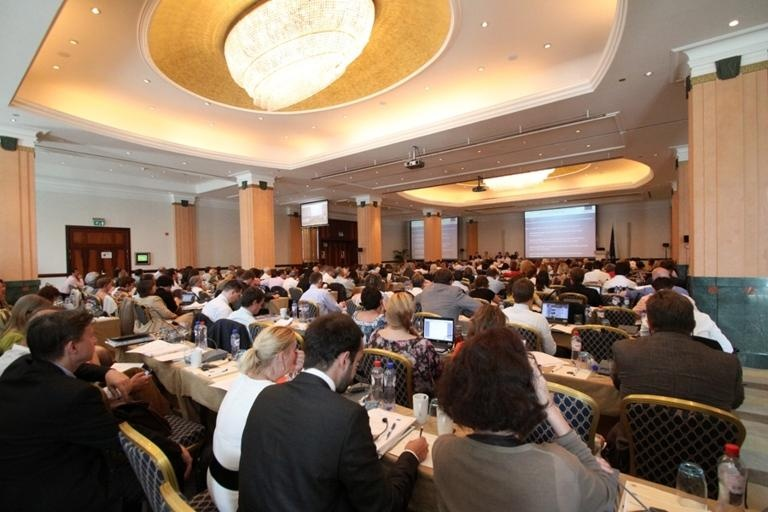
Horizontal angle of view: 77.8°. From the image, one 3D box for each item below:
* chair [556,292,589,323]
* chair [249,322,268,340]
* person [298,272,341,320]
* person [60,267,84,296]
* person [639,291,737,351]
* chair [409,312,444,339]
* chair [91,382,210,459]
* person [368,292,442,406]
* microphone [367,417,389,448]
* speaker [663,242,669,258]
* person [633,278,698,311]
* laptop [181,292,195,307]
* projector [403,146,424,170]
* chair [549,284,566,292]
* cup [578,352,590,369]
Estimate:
[{"bbox_3d":[2.965,0.787,7.277,0.418,0.579,0.196,2,-7,40],"label":"chair"},{"bbox_3d":[-1.677,1.010,6.274,0.245,0.259,0.304,2,-15,-21],"label":"chair"},{"bbox_3d":[-1.119,0.732,8.249,0.941,0.866,0.511,-6,1,39],"label":"person"},{"bbox_3d":[-7.968,0.673,12.099,0.390,0.781,0.454,15,22,17],"label":"person"},{"bbox_3d":[3.691,0.880,5.886,0.889,0.418,1.096,-8,-37,34],"label":"person"},{"bbox_3d":[0.510,0.928,6.415,0.436,0.351,0.427,6,-2,-20],"label":"chair"},{"bbox_3d":[-2.293,1.612,4.650,0.601,0.950,0.677,24,31,32],"label":"chair"},{"bbox_3d":[0.247,1.055,5.580,0.917,1.481,0.814,-2,28,2],"label":"person"},{"bbox_3d":[-0.049,1.551,4.157,0.269,0.063,0.273,-5,31,0],"label":"microphone"},{"bbox_3d":[11.747,-0.265,19.766,0.262,0.605,0.595,-1,-2,28],"label":"speaker"},{"bbox_3d":[3.721,0.514,6.299,0.444,0.304,1.027,8,27,38],"label":"person"},{"bbox_3d":[-3.978,0.914,9.676,0.263,0.262,0.062,7,-39,-20],"label":"laptop"},{"bbox_3d":[0.730,-2.362,11.418,0.246,0.409,0.437,9,-11,-42],"label":"projector"},{"bbox_3d":[3.372,0.633,9.200,0.256,0.271,0.238,-3,-6,24],"label":"chair"},{"bbox_3d":[2.302,1.199,5.463,0.187,0.162,0.147,18,-18,-32],"label":"cup"}]
